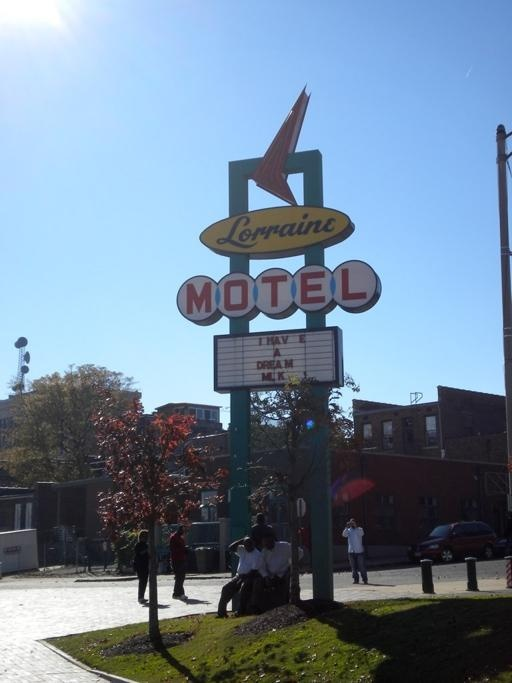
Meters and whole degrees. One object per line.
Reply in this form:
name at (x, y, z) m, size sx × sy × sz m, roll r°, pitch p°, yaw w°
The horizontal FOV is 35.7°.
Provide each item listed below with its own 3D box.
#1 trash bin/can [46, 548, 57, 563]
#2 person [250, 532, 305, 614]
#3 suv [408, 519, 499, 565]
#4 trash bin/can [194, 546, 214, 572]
trash bin/can at (-9.905, 10.404, 38.502) m, size 0.482 × 0.752 × 0.895 m, roll 2°, pitch -12°, yaw -16°
person at (0.302, 3.479, 12.039) m, size 0.678 × 1.137 × 1.022 m, roll -3°, pitch -11°, yaw 9°
suv at (7.362, 7.369, 29.188) m, size 3.536 × 1.338 × 1.389 m, roll 8°, pitch -15°, yaw -40°
trash bin/can at (-1.842, 8.037, 29.210) m, size 0.769 × 1.034 × 0.722 m, roll 0°, pitch -15°, yaw -3°
